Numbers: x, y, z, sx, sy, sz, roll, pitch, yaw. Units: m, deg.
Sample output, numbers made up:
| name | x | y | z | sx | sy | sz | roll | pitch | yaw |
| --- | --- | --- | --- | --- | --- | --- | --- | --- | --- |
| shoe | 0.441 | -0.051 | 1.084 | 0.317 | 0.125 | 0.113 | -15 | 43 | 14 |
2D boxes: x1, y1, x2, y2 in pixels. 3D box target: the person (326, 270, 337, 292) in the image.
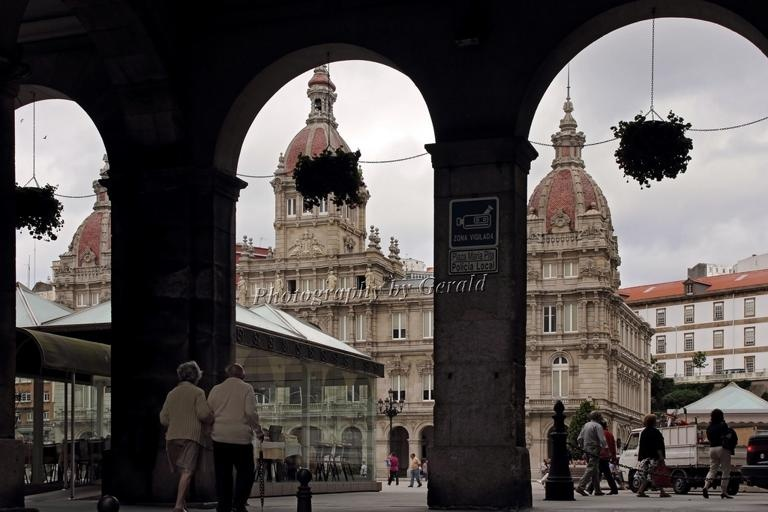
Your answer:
| name | x | y | z | sx | sy | sz | roll | pitch | yaw |
| --- | --- | --- | --- | --- | --- | --- | --- | --- | --- |
| person | -2.952 | 1.443 | 96.712 | 0.579 | 1.344 | 0.705 | 1 | -13 | -5 |

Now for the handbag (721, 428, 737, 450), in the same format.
| name | x | y | z | sx | sy | sz | roll | pitch | yaw |
| --- | --- | --- | --- | --- | --- | --- | --- | --- | --- |
| handbag | 6.737 | 3.543 | 31.478 | 0.125 | 0.389 | 0.293 | 3 | -7 | 34 |

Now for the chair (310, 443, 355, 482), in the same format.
| name | x | y | z | sx | sy | sz | roll | pitch | yaw |
| --- | --- | --- | --- | --- | --- | --- | --- | --- | --- |
| chair | -1.109 | 4.721 | 36.758 | 0.877 | 0.858 | 1.336 | -2 | -7 | 6 |

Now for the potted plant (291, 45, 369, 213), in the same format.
| name | x | y | z | sx | sy | sz | roll | pitch | yaw |
| --- | --- | --- | --- | --- | --- | --- | --- | --- | --- |
| potted plant | -0.847 | -1.689 | 28.166 | 1.688 | 2.217 | 1.549 | -2 | 2 | 6 |

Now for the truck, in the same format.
| name | x | y | z | sx | sy | sz | roll | pitch | yaw |
| --- | --- | --- | --- | --- | --- | --- | --- | --- | --- |
| truck | 7.505 | 5.108 | 40.320 | 1.731 | 1.599 | 3.475 | 10 | -11 | -25 |

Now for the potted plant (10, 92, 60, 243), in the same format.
| name | x | y | z | sx | sy | sz | roll | pitch | yaw |
| --- | --- | --- | --- | --- | --- | --- | --- | --- | --- |
| potted plant | -6.382 | -1.366 | 29.585 | 0.984 | 1.711 | 0.861 | -4 | -2 | -25 |

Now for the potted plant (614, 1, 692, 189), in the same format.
| name | x | y | z | sx | sy | sz | roll | pitch | yaw |
| --- | --- | --- | --- | --- | --- | --- | --- | --- | --- |
| potted plant | 4.393 | -2.341 | 26.720 | 1.212 | 2.327 | 1.209 | -4 | 1 | -31 |

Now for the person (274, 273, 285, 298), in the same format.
| name | x | y | z | sx | sy | sz | roll | pitch | yaw |
| --- | --- | --- | --- | --- | --- | --- | --- | --- | --- |
| person | -6.154 | 1.655 | 97.664 | 0.549 | 1.374 | 0.781 | 1 | -13 | -4 |

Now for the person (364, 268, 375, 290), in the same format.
| name | x | y | z | sx | sy | sz | roll | pitch | yaw |
| --- | --- | --- | --- | --- | --- | --- | --- | --- | --- |
| person | -0.679 | 1.293 | 95.725 | 0.516 | 1.279 | 0.733 | 1 | -13 | -5 |
